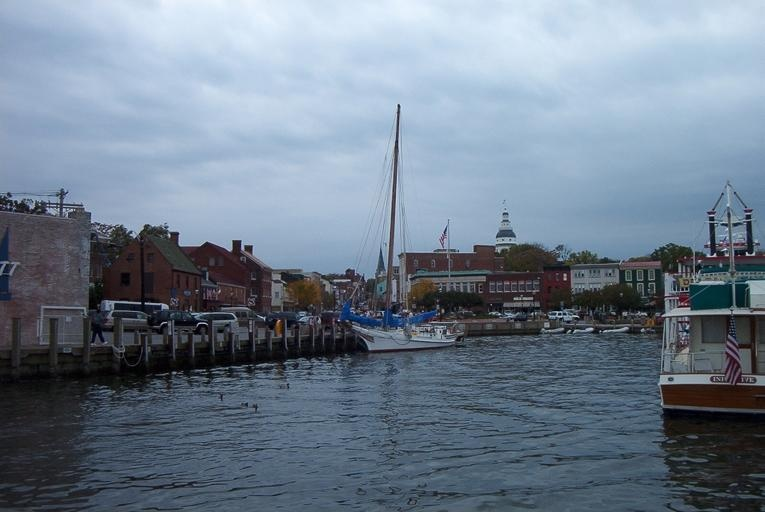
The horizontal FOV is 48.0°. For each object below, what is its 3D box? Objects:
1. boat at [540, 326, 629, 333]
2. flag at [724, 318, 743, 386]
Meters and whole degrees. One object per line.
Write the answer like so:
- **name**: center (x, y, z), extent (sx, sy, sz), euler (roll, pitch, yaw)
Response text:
- **boat**: center (24.911, 9.022, 106.010), extent (10.913, 0.767, 4.280), euler (0, -6, -7)
- **flag**: center (13.961, 3.718, 34.333), extent (0.727, 3.416, 0.468), euler (-5, 21, 14)
